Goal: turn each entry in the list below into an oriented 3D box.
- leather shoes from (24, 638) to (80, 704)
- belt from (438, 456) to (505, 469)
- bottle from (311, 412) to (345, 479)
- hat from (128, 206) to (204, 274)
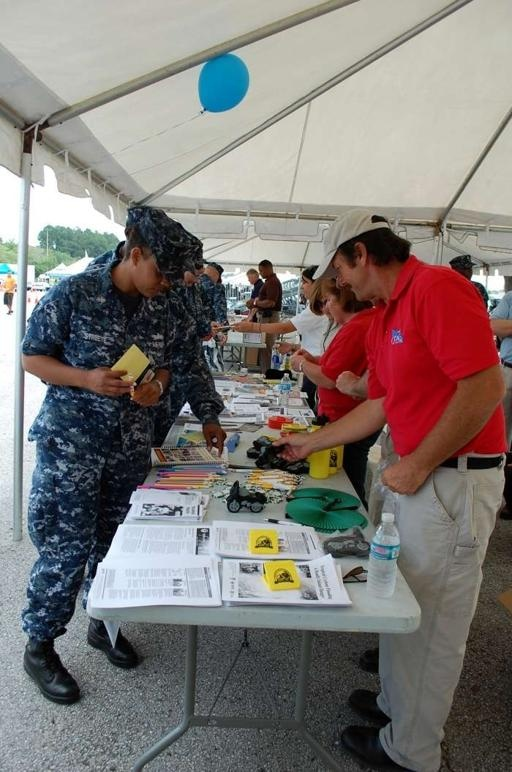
[{"bbox_3d":[-0.737,1.014,2.074,0.312,0.183,0.117,6,5,42],"label":"leather shoes"},{"bbox_3d":[0.608,0.211,1.551,0.203,0.043,0.035,1,7,-21],"label":"belt"},{"bbox_3d":[0.252,0.254,2.116,0.123,0.205,0.207,-2,6,1],"label":"bottle"},{"bbox_3d":[-0.290,-0.449,1.772,0.246,0.222,0.162,2,7,-13],"label":"hat"}]
